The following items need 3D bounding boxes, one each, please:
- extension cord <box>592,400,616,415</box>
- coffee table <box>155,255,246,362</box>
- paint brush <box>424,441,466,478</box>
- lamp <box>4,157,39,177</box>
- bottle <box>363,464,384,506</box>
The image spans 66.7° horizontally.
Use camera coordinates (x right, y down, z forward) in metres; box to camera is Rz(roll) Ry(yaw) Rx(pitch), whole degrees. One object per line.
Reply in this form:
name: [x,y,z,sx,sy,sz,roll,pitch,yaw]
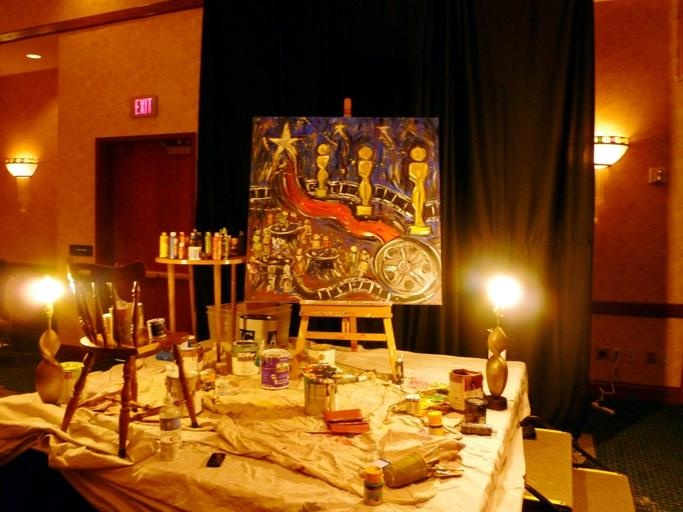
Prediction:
extension cord: [2.223,1.311,4.424,0.189,0.112,0.530,0,-7,27]
coffee table: [-1.170,0.406,4.379,0.809,0.941,0.861,0,0,20]
paint brush: [0.501,1.021,2.559,0.175,0.129,0.058,0,-34,-13]
lamp: [-4.029,-1.127,6.596,0.295,0.173,0.298,0,-3,2]
bottle: [0.163,1.029,2.347,0.069,0.155,0.138,-1,-7,38]
